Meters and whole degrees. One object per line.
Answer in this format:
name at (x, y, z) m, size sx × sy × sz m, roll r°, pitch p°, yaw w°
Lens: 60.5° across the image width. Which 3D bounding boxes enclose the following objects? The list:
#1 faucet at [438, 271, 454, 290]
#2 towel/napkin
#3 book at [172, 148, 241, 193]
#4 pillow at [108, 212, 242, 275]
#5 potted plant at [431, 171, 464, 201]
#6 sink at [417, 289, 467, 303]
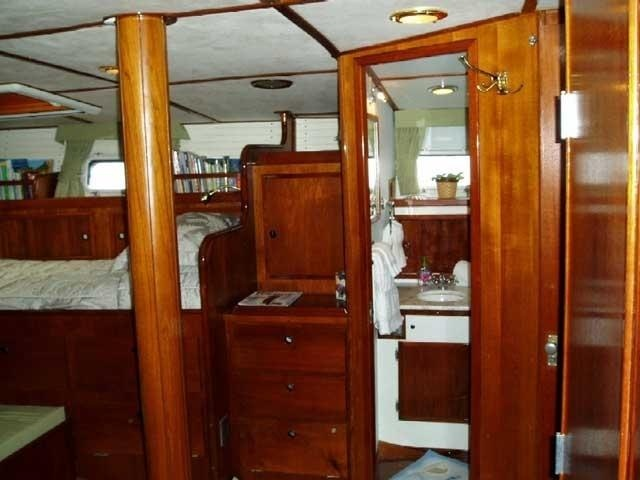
faucet at (1.028, 0.332, 4.462) m, size 0.129 × 0.109 × 0.227 m, roll 0°, pitch 3°, yaw 11°
towel/napkin at (0.469, 0.268, 3.760) m, size 0.290 × 0.610 × 0.863 m, roll -4°, pitch 8°, yaw 10°
book at (-0.980, -0.567, 4.850) m, size 0.679 × 0.324 × 0.593 m, roll 0°, pitch 3°, yaw 0°
pillow at (-1.004, -0.002, 3.749) m, size 0.724 × 0.170 × 0.506 m, roll -1°, pitch 8°, yaw -4°
potted plant at (1.136, -0.471, 4.728) m, size 0.290 × 0.200 × 0.237 m, roll -3°, pitch 4°, yaw -27°
sink at (0.936, 0.432, 4.266) m, size 0.328 × 0.068 × 0.236 m, roll -2°, pitch 3°, yaw -31°
